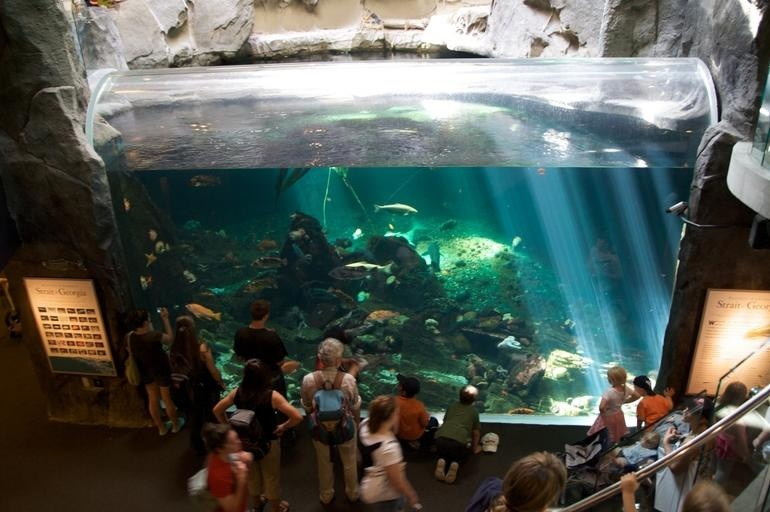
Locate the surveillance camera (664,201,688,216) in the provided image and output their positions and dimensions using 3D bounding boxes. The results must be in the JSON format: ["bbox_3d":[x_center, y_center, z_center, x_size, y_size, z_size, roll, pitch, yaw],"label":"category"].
[{"bbox_3d":[4.085,-0.672,7.061,0.207,0.078,0.247,24,-35,-22],"label":"surveillance camera"}]

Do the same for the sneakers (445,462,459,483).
[{"bbox_3d":[0.911,2.963,6.896,0.176,0.281,0.130,10,-7,11],"label":"sneakers"}]

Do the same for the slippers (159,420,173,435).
[{"bbox_3d":[-3.314,2.636,7.701,0.103,0.162,0.253,3,21,-2],"label":"slippers"}]

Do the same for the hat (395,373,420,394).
[{"bbox_3d":[0.307,1.691,6.728,0.254,0.313,0.165,-18,-29,-34],"label":"hat"}]
